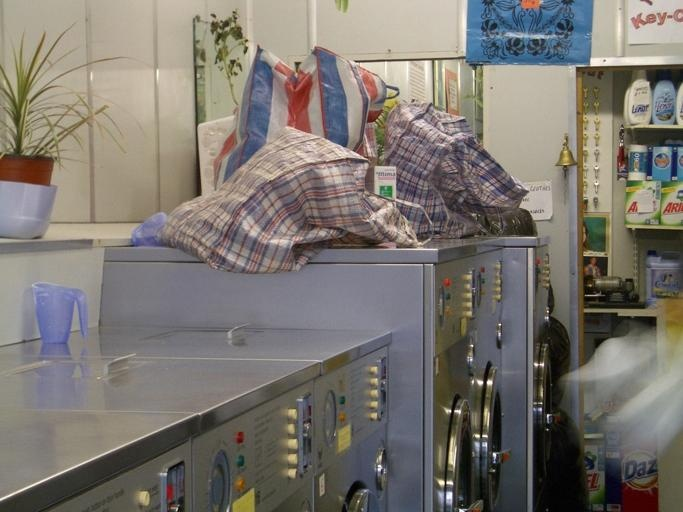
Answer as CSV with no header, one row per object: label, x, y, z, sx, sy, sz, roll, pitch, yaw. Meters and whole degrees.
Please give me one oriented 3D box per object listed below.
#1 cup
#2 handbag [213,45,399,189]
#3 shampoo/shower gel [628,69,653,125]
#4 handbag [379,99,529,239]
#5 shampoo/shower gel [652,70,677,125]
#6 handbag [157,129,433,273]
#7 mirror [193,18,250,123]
cup,-0.692,0.141,1.647,0.139,0.168,0.098,12,15,16
handbag,-0.114,-0.514,2.293,0.455,0.511,0.181,15,1,-1
shampoo/shower gel,1.715,-0.916,3.809,0.143,0.320,0.078,7,8,17
handbag,0.373,-0.304,2.435,0.532,0.320,0.418,21,-19,-15
shampoo/shower gel,1.849,-0.915,3.794,0.140,0.312,0.079,6,8,15
handbag,-0.148,-0.136,1.769,0.490,0.229,0.423,5,19,12
mirror,-0.668,-1.039,3.590,0.019,0.636,0.319,31,37,34
